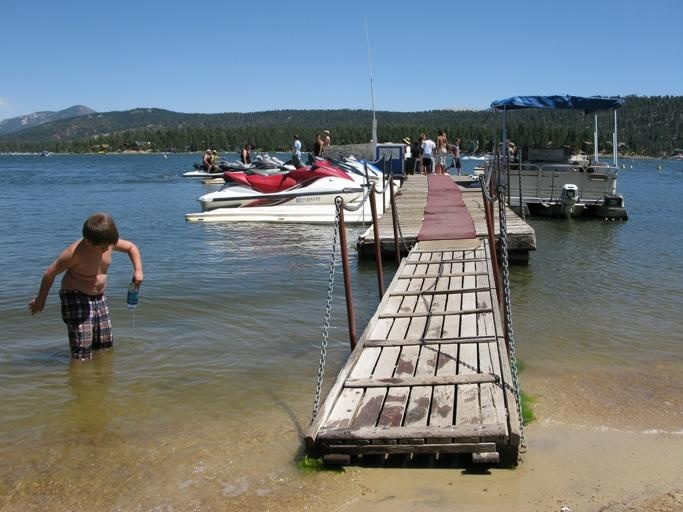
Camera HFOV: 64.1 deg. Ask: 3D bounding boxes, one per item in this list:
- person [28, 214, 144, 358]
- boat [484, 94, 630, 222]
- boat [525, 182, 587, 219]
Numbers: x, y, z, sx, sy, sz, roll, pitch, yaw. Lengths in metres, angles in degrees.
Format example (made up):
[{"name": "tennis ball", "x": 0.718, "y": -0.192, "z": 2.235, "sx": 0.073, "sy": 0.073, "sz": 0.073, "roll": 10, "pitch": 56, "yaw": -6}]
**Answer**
[{"name": "person", "x": -3.306, "y": 0.440, "z": 6.978, "sx": 0.877, "sy": 2.010, "sz": 0.893, "roll": -7, "pitch": 13, "yaw": -27}, {"name": "boat", "x": 8.595, "y": -3.826, "z": 21.224, "sx": 4.161, "sy": 4.749, "sz": 7.034, "roll": 5, "pitch": 12, "yaw": 24}, {"name": "boat", "x": 9.152, "y": -2.069, "z": 22.139, "sx": 1.968, "sy": 0.956, "sz": 2.772, "roll": 10, "pitch": 1, "yaw": 19}]
